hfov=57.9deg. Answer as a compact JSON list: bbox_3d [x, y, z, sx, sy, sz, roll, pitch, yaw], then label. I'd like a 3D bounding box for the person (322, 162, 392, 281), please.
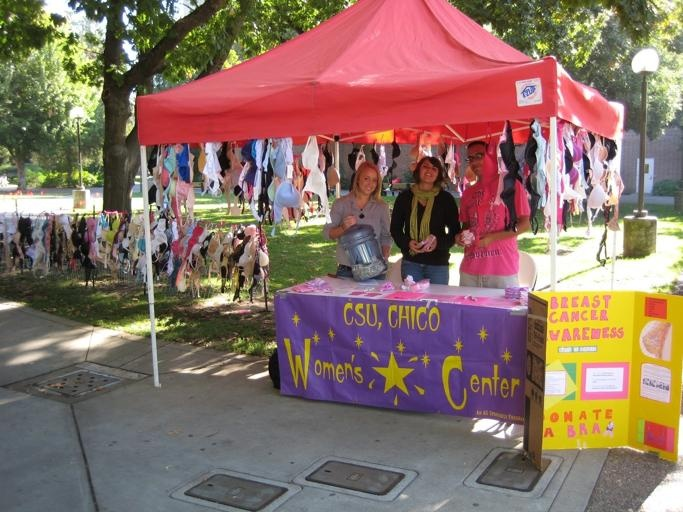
[{"bbox_3d":[0.235,0.019,7.253,0.749,2.220,0.655,-5,20,-11],"label":"person"}]

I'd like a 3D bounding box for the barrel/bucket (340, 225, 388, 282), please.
[{"bbox_3d":[0.219,-0.007,6.672,0.416,0.675,0.406,-11,-20,-4],"label":"barrel/bucket"}]

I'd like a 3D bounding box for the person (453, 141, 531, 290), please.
[{"bbox_3d":[1.576,-0.423,6.567,0.709,1.535,1.007,-9,14,-35],"label":"person"}]
